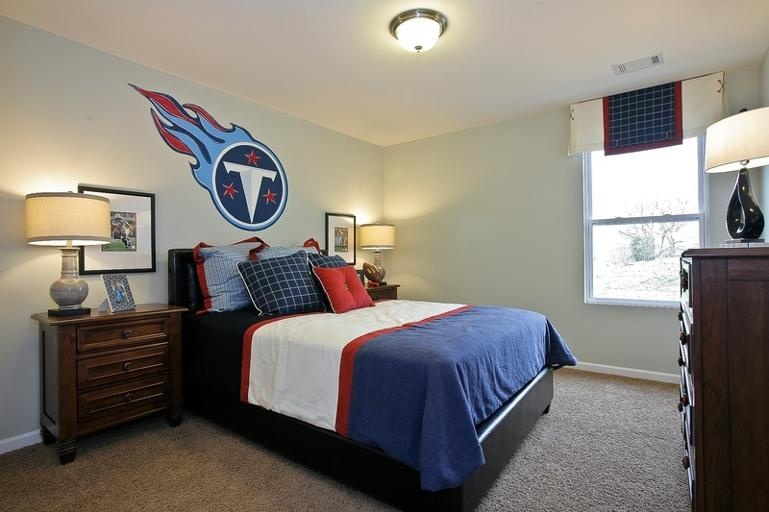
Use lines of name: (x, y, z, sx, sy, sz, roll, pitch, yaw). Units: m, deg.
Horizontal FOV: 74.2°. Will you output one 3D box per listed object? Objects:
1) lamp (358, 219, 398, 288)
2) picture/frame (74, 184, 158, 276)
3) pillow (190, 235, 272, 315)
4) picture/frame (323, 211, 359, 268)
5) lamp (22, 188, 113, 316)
lamp: (-0.118, -0.057, 6.721, 0.671, 1.129, 0.689, -1, 2, 1)
picture/frame: (-2.348, -0.226, 4.386, 0.042, 1.120, 0.805, -2, -2, 37)
pillow: (-1.480, 0.186, 4.622, 0.598, 0.603, 0.194, -4, -15, -45)
picture/frame: (-0.549, -0.208, 6.056, 0.037, 0.869, 0.693, 1, 0, 38)
lamp: (-2.533, -0.022, 4.093, 0.614, 0.970, 0.406, -5, 4, -21)
